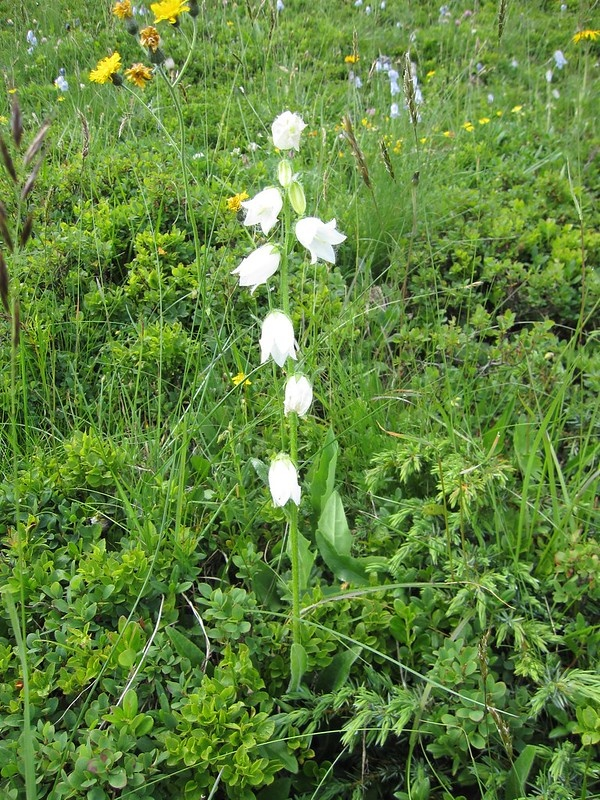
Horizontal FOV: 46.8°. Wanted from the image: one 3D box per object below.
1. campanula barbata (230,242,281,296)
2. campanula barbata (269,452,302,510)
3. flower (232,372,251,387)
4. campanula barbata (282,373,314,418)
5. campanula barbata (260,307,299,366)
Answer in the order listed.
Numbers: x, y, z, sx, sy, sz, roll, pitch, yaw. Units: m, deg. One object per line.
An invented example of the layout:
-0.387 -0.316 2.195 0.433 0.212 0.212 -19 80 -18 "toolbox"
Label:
-0.086 -0.285 1.505 0.086 0.127 0.055 45 -3 33 "campanula barbata"
-0.030 0.175 1.512 0.067 0.112 0.044 -2 -12 -16 "campanula barbata"
-0.214 -0.073 2.480 0.056 0.034 0.060 0 -2 3 "flower"
-0.003 -0.012 1.520 0.068 0.112 0.078 9 13 12 "campanula barbata"
-0.052 -0.142 1.486 0.062 0.108 0.071 3 -4 9 "campanula barbata"
